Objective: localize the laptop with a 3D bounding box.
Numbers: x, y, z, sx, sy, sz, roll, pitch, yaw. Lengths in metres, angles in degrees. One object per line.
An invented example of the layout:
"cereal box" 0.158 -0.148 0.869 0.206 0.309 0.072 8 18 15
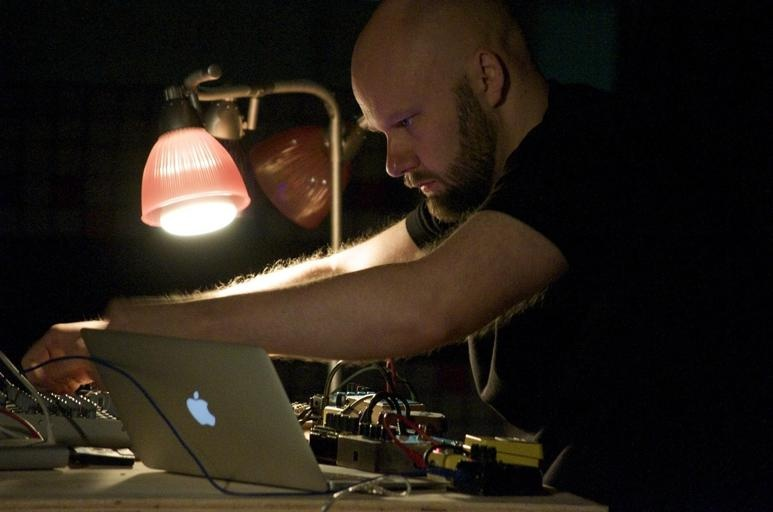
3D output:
"laptop" -0.363 0.295 1.599 0.361 0.228 0.347 -2 -5 31
